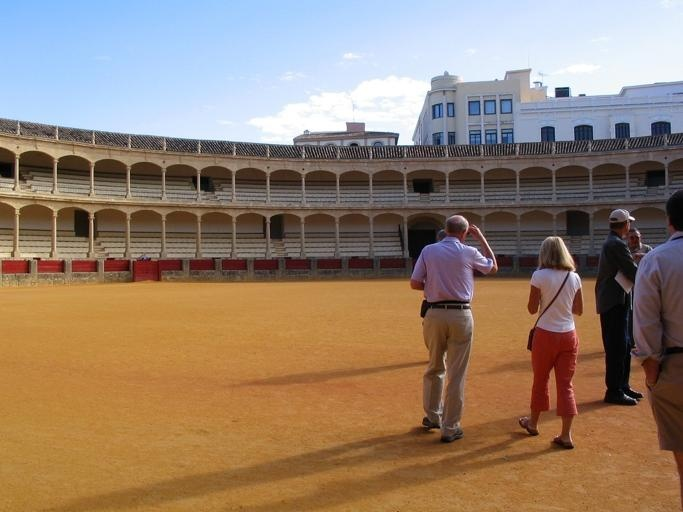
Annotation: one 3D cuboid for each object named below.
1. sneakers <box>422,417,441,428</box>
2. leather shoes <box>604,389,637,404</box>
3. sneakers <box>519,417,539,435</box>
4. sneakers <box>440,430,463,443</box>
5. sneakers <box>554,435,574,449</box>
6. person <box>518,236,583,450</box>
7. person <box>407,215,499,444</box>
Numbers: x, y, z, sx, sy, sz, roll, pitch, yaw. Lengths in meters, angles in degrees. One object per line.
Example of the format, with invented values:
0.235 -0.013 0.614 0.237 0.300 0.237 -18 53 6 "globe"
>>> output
1.135 2.104 9.150 0.230 0.179 0.117 -3 8 3 "sneakers"
3.809 1.934 10.017 0.547 0.175 0.162 0 4 -4 "leather shoes"
2.316 2.104 9.003 0.162 0.103 0.266 -3 21 -15 "sneakers"
1.330 2.175 8.819 0.293 0.113 0.109 -7 9 -35 "sneakers"
2.640 2.177 8.650 0.246 0.175 0.192 0 5 14 "sneakers"
2.548 1.012 8.786 0.702 2.473 0.532 2 7 33 "person"
1.373 0.860 8.971 0.992 2.702 0.826 -1 6 7 "person"
